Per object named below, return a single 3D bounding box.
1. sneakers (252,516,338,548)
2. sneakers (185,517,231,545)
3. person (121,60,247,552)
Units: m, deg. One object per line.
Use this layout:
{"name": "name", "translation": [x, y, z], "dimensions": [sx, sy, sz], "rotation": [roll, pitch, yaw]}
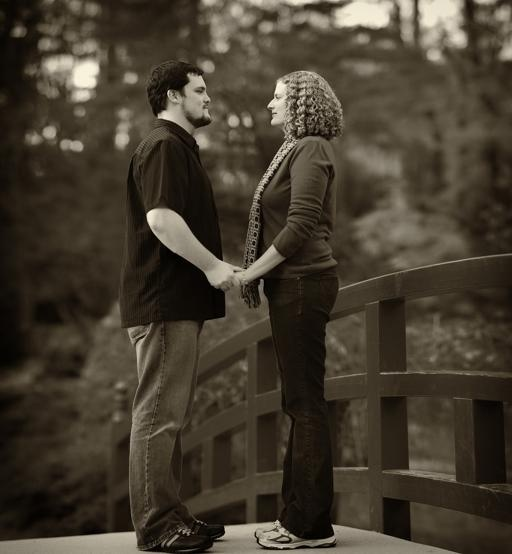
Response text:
{"name": "sneakers", "translation": [0.196, 1.259, 5.040], "dimensions": [0.360, 0.174, 0.153], "rotation": [3, -6, -3]}
{"name": "sneakers", "translation": [-0.248, 1.285, 5.081], "dimensions": [0.226, 0.106, 0.085], "rotation": [5, -1, -4]}
{"name": "person", "translation": [-0.403, 0.128, 5.014], "dimensions": [0.563, 2.440, 0.396], "rotation": [0, 1, -9]}
